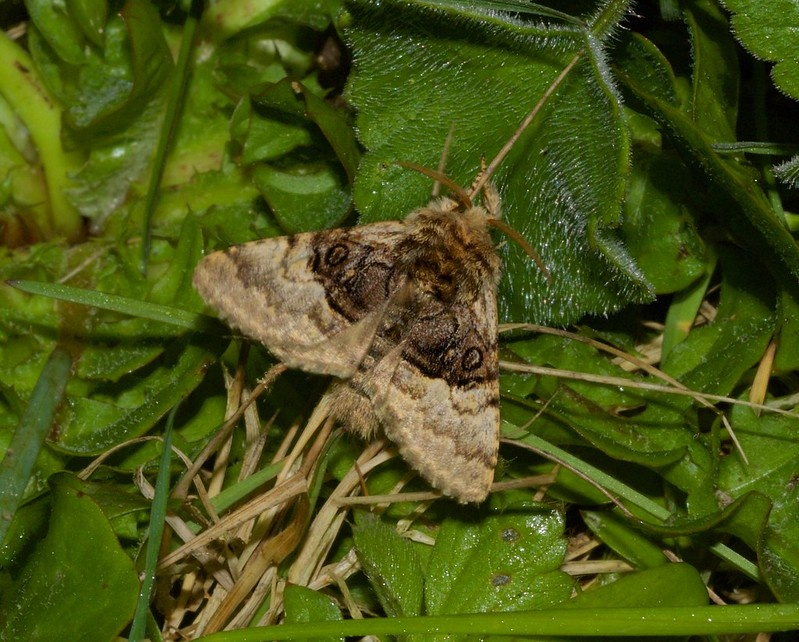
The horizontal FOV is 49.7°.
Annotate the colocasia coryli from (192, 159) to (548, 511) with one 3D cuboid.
[{"bbox_3d":[0.002,-0.025,1.989,0.797,0.158,0.546,36,71,12],"label":"colocasia coryli"}]
